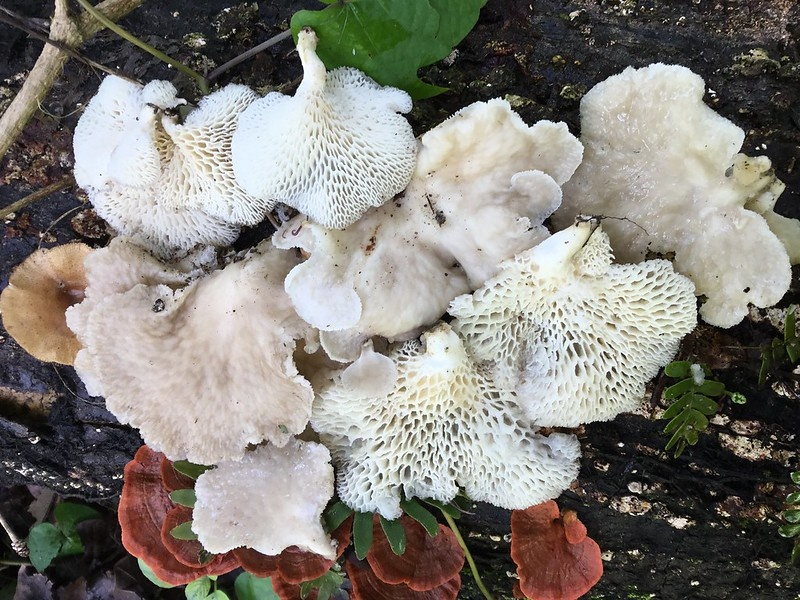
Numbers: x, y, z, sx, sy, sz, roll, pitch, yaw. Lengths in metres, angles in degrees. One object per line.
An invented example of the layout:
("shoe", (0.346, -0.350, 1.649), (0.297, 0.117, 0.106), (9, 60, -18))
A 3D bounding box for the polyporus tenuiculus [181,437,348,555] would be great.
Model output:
("polyporus tenuiculus", (-0.889, 1.329, 5.993), (0.859, 0.241, 0.787), (0, 94, 0))

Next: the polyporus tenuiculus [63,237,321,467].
("polyporus tenuiculus", (-1.443, 0.310, 6.342), (1.789, 2.034, 1.399), (-19, 110, -19))

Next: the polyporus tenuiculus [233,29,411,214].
("polyporus tenuiculus", (-0.445, -0.967, 5.553), (1.063, 0.528, 1.008), (32, 85, 5))

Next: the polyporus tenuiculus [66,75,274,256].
("polyporus tenuiculus", (-1.506, -0.947, 6.255), (1.370, 1.308, 1.016), (-8, 107, 25))

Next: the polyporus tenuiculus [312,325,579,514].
("polyporus tenuiculus", (0.298, 0.839, 5.858), (1.626, 0.808, 1.196), (6, 90, 4))
